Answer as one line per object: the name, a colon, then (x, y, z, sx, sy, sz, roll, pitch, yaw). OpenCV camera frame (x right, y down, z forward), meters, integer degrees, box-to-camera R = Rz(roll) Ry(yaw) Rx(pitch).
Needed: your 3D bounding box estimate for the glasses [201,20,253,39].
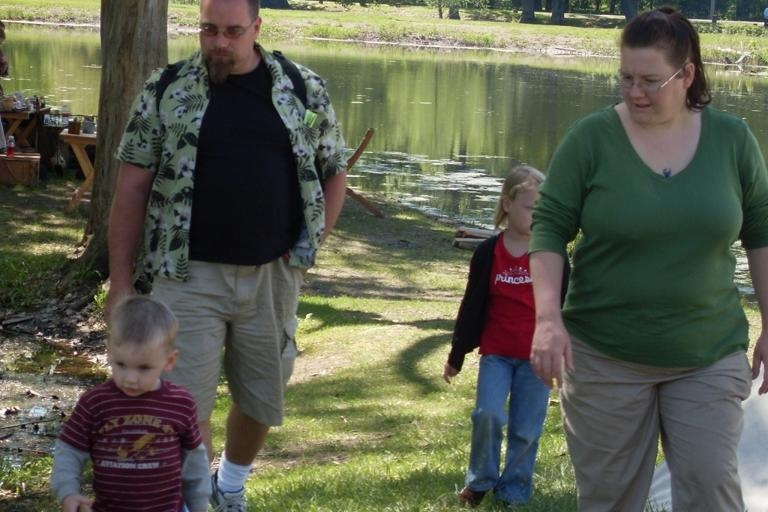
glasses: (-0.905, -1.308, 5.709, 0.304, 0.092, 0.104, -3, 10, -6)
